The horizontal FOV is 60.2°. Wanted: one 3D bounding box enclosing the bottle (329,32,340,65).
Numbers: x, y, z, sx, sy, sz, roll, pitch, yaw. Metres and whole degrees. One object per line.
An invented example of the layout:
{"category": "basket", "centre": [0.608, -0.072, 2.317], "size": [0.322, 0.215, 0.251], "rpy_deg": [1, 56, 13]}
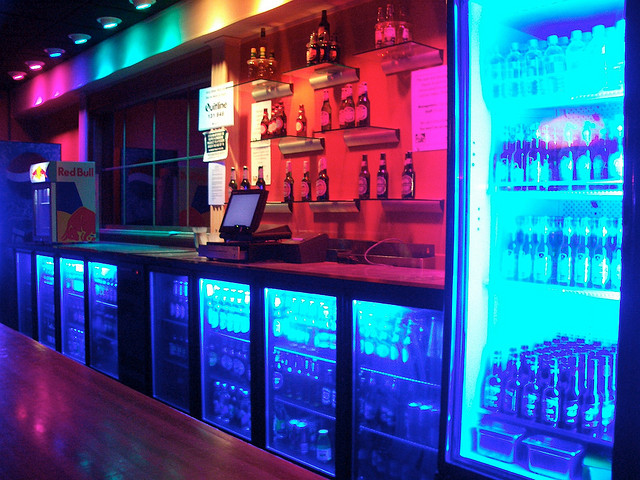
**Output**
{"category": "bottle", "centre": [0.110, -1.434, 4.072], "size": [0.065, 0.227, 0.196], "rpy_deg": [1, 12, 9]}

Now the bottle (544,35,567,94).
{"category": "bottle", "centre": [0.973, -0.712, 2.282], "size": [0.080, 0.285, 0.082], "rpy_deg": [4, -15, 1]}

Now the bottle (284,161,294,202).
{"category": "bottle", "centre": [-0.253, -0.476, 4.469], "size": [0.079, 0.326, 0.119], "rpy_deg": [-1, 11, -1]}

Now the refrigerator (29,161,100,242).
{"category": "refrigerator", "centre": [-2.775, -0.395, 5.973], "size": [0.595, 0.851, 0.670], "rpy_deg": [0, 0, 20]}

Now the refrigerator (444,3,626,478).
{"category": "refrigerator", "centre": [0.853, -0.002, 2.208], "size": [0.680, 1.838, 0.622], "rpy_deg": [1, 11, 7]}

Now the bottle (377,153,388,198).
{"category": "bottle", "centre": [0.440, -0.451, 3.848], "size": [0.071, 0.297, 0.085], "rpy_deg": [0, 11, 3]}

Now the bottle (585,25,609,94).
{"category": "bottle", "centre": [1.103, -0.718, 2.191], "size": [0.088, 0.261, 0.076], "rpy_deg": [5, 13, 27]}

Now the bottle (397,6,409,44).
{"category": "bottle", "centre": [0.558, -1.447, 3.671], "size": [0.076, 0.242, 0.135], "rpy_deg": [1, 12, 8]}

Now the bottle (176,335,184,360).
{"category": "bottle", "centre": [-1.115, 0.859, 4.377], "size": [0.036, 0.146, 0.150], "rpy_deg": [7, -5, -24]}

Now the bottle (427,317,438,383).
{"category": "bottle", "centre": [0.619, 0.595, 2.984], "size": [0.044, 0.359, 0.090], "rpy_deg": [-5, 12, -22]}

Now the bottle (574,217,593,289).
{"category": "bottle", "centre": [1.086, 0.047, 2.250], "size": [0.069, 0.274, 0.059], "rpy_deg": [5, 12, 26]}

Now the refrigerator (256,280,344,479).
{"category": "refrigerator", "centre": [-0.104, 0.813, 3.389], "size": [0.774, 1.147, 0.365], "rpy_deg": [11, 16, 44]}

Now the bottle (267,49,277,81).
{"category": "bottle", "centre": [-0.405, -1.482, 4.615], "size": [0.082, 0.245, 0.148], "rpy_deg": [-1, 11, -2]}

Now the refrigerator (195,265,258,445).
{"category": "refrigerator", "centre": [-0.596, 0.669, 4.255], "size": [0.437, 1.383, 0.744], "rpy_deg": [10, 26, 12]}

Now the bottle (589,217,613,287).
{"category": "bottle", "centre": [1.134, 0.047, 2.203], "size": [0.081, 0.273, 0.041], "rpy_deg": [10, 15, 43]}

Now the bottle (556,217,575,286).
{"category": "bottle", "centre": [1.035, 0.045, 2.292], "size": [0.066, 0.275, 0.046], "rpy_deg": [6, 13, 29]}

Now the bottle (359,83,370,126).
{"category": "bottle", "centre": [0.329, -0.977, 3.942], "size": [0.072, 0.287, 0.110], "rpy_deg": [10, 15, 43]}

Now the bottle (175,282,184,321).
{"category": "bottle", "centre": [-1.118, 0.489, 4.389], "size": [0.069, 0.291, 0.101], "rpy_deg": [-7, 13, -31]}

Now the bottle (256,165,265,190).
{"category": "bottle", "centre": [-0.525, -0.563, 4.815], "size": [0.057, 0.187, 0.105], "rpy_deg": [-10, 15, -39]}

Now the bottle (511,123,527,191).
{"category": "bottle", "centre": [0.852, -0.358, 2.329], "size": [0.082, 0.349, 0.017], "rpy_deg": [-5, 50, 16]}

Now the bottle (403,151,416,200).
{"category": "bottle", "centre": [0.604, -0.439, 3.702], "size": [0.085, 0.309, 0.158], "rpy_deg": [1, 12, 9]}

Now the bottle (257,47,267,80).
{"category": "bottle", "centre": [-0.486, -1.508, 4.659], "size": [0.081, 0.230, 0.141], "rpy_deg": [-3, 12, -12]}

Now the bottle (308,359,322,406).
{"category": "bottle", "centre": [-0.028, 0.908, 3.499], "size": [0.089, 0.285, 0.059], "rpy_deg": [3, 12, 17]}

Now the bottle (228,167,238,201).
{"category": "bottle", "centre": [-0.791, -0.542, 4.974], "size": [0.086, 0.216, 0.190], "rpy_deg": [-2, 12, -9]}

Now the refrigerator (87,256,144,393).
{"category": "refrigerator", "centre": [-1.655, 0.647, 4.491], "size": [0.377, 1.077, 1.052], "rpy_deg": [2, -1, -40]}

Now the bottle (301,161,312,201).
{"category": "bottle", "centre": [-0.107, -0.474, 4.350], "size": [0.082, 0.302, 0.199], "rpy_deg": [-1, 12, -2]}

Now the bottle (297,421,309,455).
{"category": "bottle", "centre": [-0.109, 1.270, 3.513], "size": [0.064, 0.191, 0.119], "rpy_deg": [-5, 12, -20]}

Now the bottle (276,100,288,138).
{"category": "bottle", "centre": [-0.310, -0.986, 4.468], "size": [0.092, 0.289, 0.309], "rpy_deg": [-1, 12, -4]}

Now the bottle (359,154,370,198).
{"category": "bottle", "centre": [0.321, -0.461, 3.959], "size": [0.073, 0.304, 0.067], "rpy_deg": [0, 11, 0]}

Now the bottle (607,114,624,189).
{"category": "bottle", "centre": [1.170, -0.372, 2.169], "size": [0.053, 0.243, 0.097], "rpy_deg": [6, 13, 28]}

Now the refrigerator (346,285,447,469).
{"category": "refrigerator", "centre": [0.534, 0.879, 3.296], "size": [0.687, 1.328, 0.443], "rpy_deg": [4, 12, 31]}

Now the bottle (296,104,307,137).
{"category": "bottle", "centre": [-0.143, -0.959, 4.382], "size": [0.079, 0.246, 0.155], "rpy_deg": [1, 12, 7]}

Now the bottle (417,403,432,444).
{"category": "bottle", "centre": [0.577, 1.020, 3.061], "size": [0.062, 0.202, 0.072], "rpy_deg": [2, 11, 11]}

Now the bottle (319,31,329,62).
{"category": "bottle", "centre": [0.039, -1.416, 3.992], "size": [0.076, 0.204, 0.068], "rpy_deg": [-5, 12, -21]}

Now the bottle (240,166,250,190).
{"category": "bottle", "centre": [-0.659, -0.551, 4.795], "size": [0.084, 0.204, 0.270], "rpy_deg": [-2, 12, -8]}

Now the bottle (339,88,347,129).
{"category": "bottle", "centre": [0.173, -0.970, 4.011], "size": [0.049, 0.270, 0.110], "rpy_deg": [-1, 11, -2]}

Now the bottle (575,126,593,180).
{"category": "bottle", "centre": [1.078, -0.354, 2.217], "size": [0.051, 0.207, 0.077], "rpy_deg": [-4, 12, -19]}
